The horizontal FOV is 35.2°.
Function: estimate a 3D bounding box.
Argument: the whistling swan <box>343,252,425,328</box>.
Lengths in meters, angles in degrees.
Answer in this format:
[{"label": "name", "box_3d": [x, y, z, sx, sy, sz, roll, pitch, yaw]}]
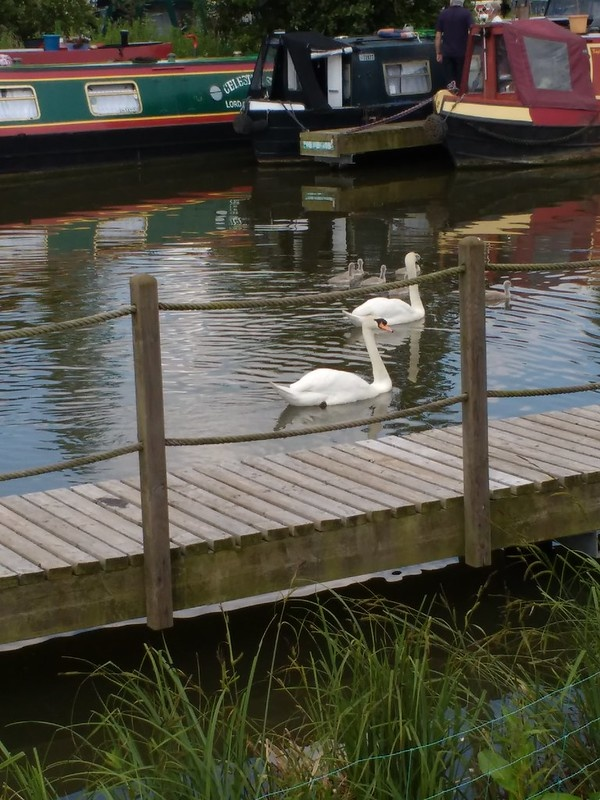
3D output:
[{"label": "whistling swan", "box_3d": [1.007, -1.323, 11.452, 1.331, 0.965, 0.534, -9, 9, -35]}]

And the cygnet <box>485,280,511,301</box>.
[{"label": "cygnet", "box_3d": [2.546, -1.408, 12.132, 0.299, 0.211, 0.483, -1, 18, 13]}]

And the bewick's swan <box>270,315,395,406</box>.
[{"label": "bewick's swan", "box_3d": [0.374, -0.337, 8.886, 1.455, 0.772, 0.587, -7, 14, -28]}]

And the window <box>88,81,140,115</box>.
[{"label": "window", "box_3d": [-4.899, -7.911, 24.760, 1.466, 0.858, 0.472, -22, 24, -41]}]
